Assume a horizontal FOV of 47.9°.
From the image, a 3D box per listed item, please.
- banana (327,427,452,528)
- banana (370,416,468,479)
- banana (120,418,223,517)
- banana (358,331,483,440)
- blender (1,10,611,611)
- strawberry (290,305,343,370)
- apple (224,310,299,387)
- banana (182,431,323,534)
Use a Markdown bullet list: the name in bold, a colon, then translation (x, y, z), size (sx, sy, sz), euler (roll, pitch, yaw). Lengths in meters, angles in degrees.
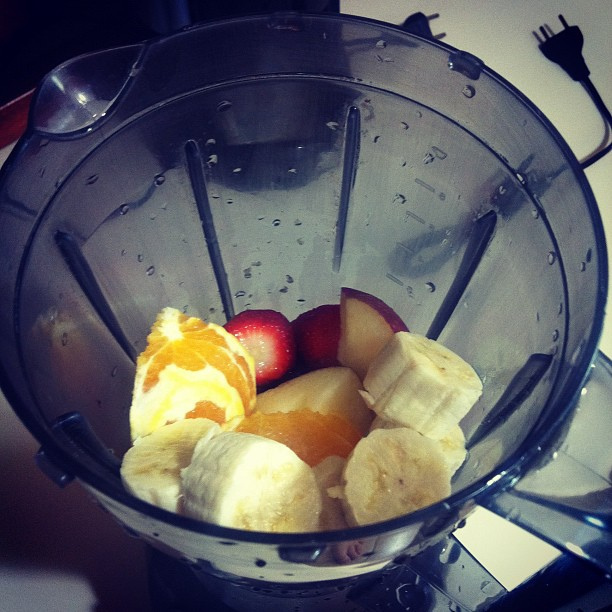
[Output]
- **banana**: translation (0.060, 0.128, 0.528), size (0.093, 0.018, 0.069), euler (-15, 55, -10)
- **banana**: translation (0.096, 0.116, 0.571), size (0.054, 0.014, 0.054), euler (-10, 43, -46)
- **banana**: translation (-0.107, 0.116, 0.520), size (0.073, 0.015, 0.064), euler (15, 39, 17)
- **banana**: translation (0.099, 0.074, 0.612), size (0.101, 0.095, 0.062), euler (31, 99, 45)
- **blender**: translation (-0.006, 0.017, 0.604), size (0.444, 0.425, 0.261), euler (37, 75, 15)
- **strawberry**: translation (0.029, 0.036, 0.730), size (0.063, 0.063, 0.064), euler (16, 70, -41)
- **apple**: translation (-0.038, 0.046, 0.676), size (0.079, 0.039, 0.067), euler (-4, 72, -10)
- **banana**: translation (-0.037, 0.131, 0.502), size (0.097, 0.050, 0.068), euler (5, 55, 4)
